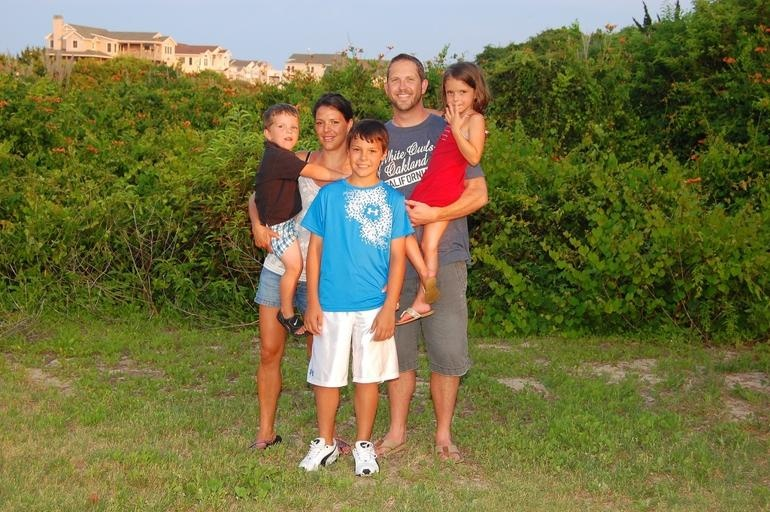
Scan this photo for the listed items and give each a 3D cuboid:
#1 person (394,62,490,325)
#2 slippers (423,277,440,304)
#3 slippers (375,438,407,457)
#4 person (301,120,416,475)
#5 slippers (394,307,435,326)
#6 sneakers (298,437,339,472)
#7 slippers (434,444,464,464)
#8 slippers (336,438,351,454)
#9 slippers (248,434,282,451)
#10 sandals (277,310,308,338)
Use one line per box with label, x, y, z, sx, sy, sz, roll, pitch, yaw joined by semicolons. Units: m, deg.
person;0.505;-0.653;5.884;0.764;2.555;0.669;6;-9;32
slippers;0.417;0.318;5.670;0.130;0.243;0.084;-3;6;-27
slippers;0.042;1.900;6.034;0.248;0.076;0.121;1;-2;-33
person;-0.288;0.374;5.663;0.995;3.286;0.296;3;2;1
slippers;0.276;0.564;5.872;0.386;0.142;0.154;-21;6;5
sneakers;-0.626;1.877;5.727;0.189;0.269;0.539;-3;2;31
slippers;0.629;1.913;5.962;0.271;0.184;0.181;3;2;1
slippers;-0.415;1.878;5.973;0.155;0.070;0.117;17;22;21
slippers;-1.163;1.837;5.973;0.113;0.069;0.266;0;4;45
sandals;-0.857;0.626;5.721;0.357;0.140;0.153;45;34;10
